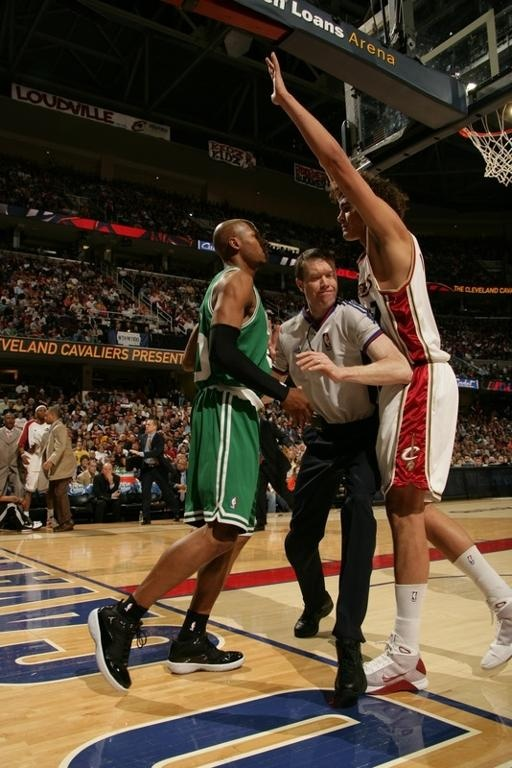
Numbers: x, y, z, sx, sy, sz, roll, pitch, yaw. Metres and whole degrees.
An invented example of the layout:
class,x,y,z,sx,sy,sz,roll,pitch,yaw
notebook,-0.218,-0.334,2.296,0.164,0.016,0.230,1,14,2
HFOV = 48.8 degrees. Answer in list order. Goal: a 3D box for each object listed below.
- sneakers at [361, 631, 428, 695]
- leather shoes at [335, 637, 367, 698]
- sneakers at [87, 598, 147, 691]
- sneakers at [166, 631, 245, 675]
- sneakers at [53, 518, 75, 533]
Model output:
class,x,y,z,sx,sy,sz,roll,pitch,yaw
sneakers,0.418,0.886,1.795,0.262,0.165,0.082,2,-8,-12
leather shoes,0.286,0.863,1.690,0.090,0.202,0.160,1,-1,11
sneakers,-0.435,0.809,1.772,0.173,0.172,0.211,2,-1,-20
sneakers,-0.193,0.974,2.078,0.338,0.161,0.109,3,-16,-15
sneakers,-2.452,1.795,7.188,0.253,0.146,0.131,8,-11,-14
